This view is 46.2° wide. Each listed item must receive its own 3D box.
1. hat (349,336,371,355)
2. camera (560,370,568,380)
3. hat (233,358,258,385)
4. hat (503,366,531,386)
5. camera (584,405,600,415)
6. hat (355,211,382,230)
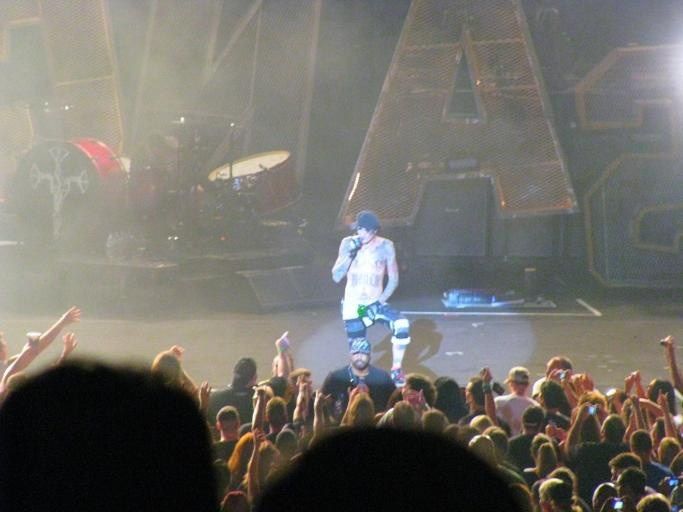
[{"bbox_3d":[0.240,1.122,9.902,0.235,0.198,0.171,-14,19,-8],"label":"hat"},{"bbox_3d":[2.465,1.329,8.922,0.073,0.117,0.069,6,25,7],"label":"camera"},{"bbox_3d":[-1.035,1.258,8.815,0.310,0.288,0.253,1,9,7],"label":"hat"},{"bbox_3d":[1.932,1.305,8.837,0.284,0.193,0.354,0,5,-2],"label":"hat"},{"bbox_3d":[2.553,1.569,8.162,0.087,0.103,0.151,-14,-5,-23],"label":"camera"},{"bbox_3d":[0.307,-0.475,10.901,0.257,0.172,0.334,-17,36,-33],"label":"hat"}]
